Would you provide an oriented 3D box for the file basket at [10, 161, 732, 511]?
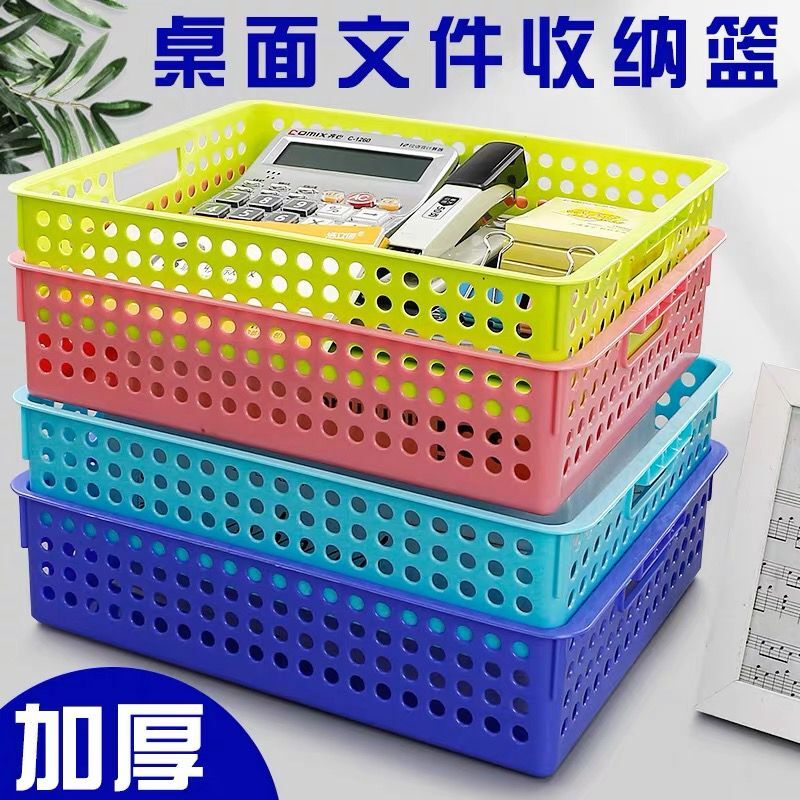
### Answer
[{"bbox_3d":[-0.073,-0.057,0.789,0.408,0.099,0.387,13,22,26],"label":"file basket"}]

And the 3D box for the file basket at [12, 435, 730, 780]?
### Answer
[{"bbox_3d":[-0.066,0.243,1.020,0.535,0.137,0.368,9,21,25],"label":"file basket"}]
